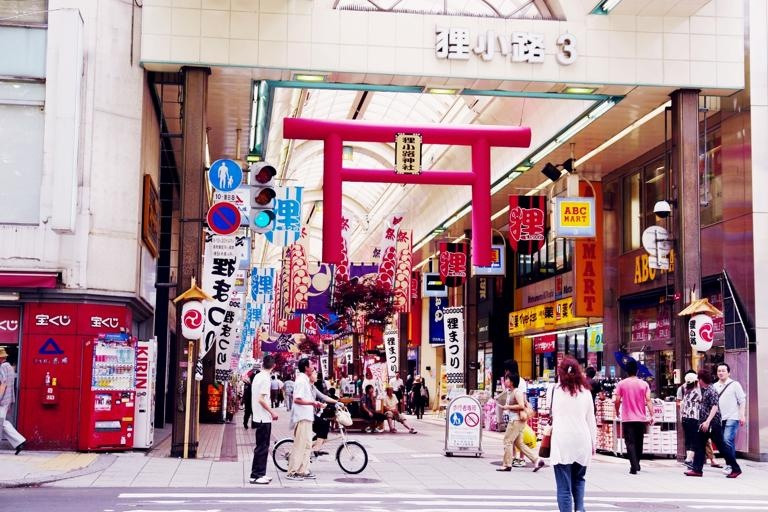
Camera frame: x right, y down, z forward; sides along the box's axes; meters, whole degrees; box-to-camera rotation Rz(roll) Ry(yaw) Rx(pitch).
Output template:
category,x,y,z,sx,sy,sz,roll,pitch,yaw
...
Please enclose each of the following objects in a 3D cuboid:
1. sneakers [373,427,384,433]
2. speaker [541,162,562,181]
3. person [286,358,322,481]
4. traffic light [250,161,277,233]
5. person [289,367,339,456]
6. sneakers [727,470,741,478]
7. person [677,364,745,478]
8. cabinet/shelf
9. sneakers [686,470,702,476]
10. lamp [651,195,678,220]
category,x,y,z,sx,sy,sz,roll,pitch,yaw
sneakers,-0.184,6.157,27.670,0.313,0.154,0.124,-1,-8,-3
speaker,5.627,-2.901,26.483,0.389,0.672,0.408,-45,9,-37
person,-1.616,3.243,15.722,0.626,2.372,1.312,0,-11,-7
traffic light,-2.500,-1.221,16.237,0.455,1.512,0.450,2,1,-14
person,-1.425,3.638,17.257,0.832,1.649,0.682,-9,-34,-2
sneakers,7.389,4.628,16.622,0.257,0.144,0.479,-6,-13,23
person,6.922,3.582,16.808,1.048,2.253,0.885,-4,-11,17
cabinet/shelf,6.415,4.328,19.957,1.752,1.162,1.683,7,-6,-24
sneakers,6.594,4.638,16.749,0.281,0.110,0.117,4,-9,5
lamp,7.213,-1.279,20.219,0.487,0.499,0.692,-4,-12,12
